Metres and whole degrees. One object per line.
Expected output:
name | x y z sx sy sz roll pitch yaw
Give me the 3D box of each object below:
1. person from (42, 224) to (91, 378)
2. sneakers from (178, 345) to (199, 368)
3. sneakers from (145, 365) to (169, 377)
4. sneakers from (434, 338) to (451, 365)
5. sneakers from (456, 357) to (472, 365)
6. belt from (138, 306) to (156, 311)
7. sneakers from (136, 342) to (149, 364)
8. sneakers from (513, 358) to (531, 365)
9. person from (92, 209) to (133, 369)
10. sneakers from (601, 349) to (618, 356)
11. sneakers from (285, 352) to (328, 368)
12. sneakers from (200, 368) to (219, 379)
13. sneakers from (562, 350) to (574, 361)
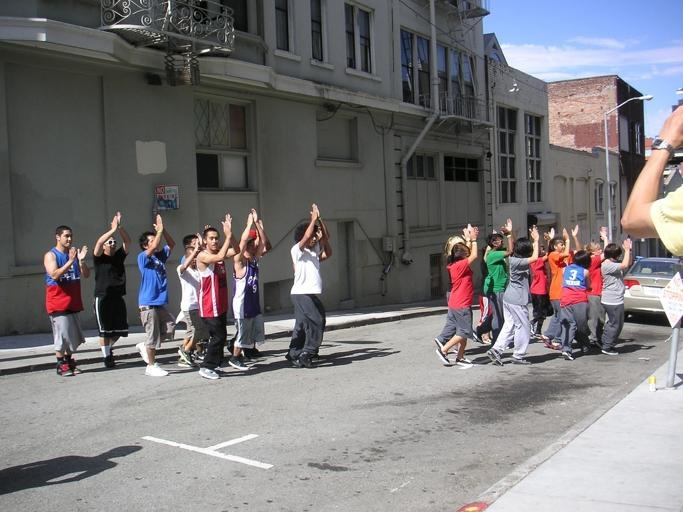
person | -4.547 0.721 9.806 0.593 2.453 0.817 -1 2 -11
sneakers | -2.718 1.762 10.431 0.476 0.219 0.180 21 9 25
sneakers | -3.039 1.874 9.760 0.384 0.183 0.157 3 -2 5
sneakers | 1.744 1.677 10.376 0.212 0.574 0.188 -21 8 8
sneakers | 2.121 1.828 10.355 0.226 0.115 0.112 -1 -1 13
belt | -3.308 0.862 10.079 0.271 0.095 0.177 0 2 -3
sneakers | -3.460 1.688 10.346 0.180 0.221 0.545 -24 -21 -22
sneakers | 3.246 1.874 10.660 0.358 0.158 0.127 -1 1 -4
person | -4.008 0.578 10.453 0.579 2.678 0.611 -3 3 -43
sneakers | 5.186 1.849 11.472 0.291 0.136 0.124 0 0 -1
sneakers | -0.600 1.799 10.383 0.632 0.300 0.236 -1 4 -17
sneakers | -2.102 1.868 9.510 0.330 0.169 0.134 4 0 19
sneakers | 4.162 1.821 10.939 0.102 0.128 0.263 -2 1 31
